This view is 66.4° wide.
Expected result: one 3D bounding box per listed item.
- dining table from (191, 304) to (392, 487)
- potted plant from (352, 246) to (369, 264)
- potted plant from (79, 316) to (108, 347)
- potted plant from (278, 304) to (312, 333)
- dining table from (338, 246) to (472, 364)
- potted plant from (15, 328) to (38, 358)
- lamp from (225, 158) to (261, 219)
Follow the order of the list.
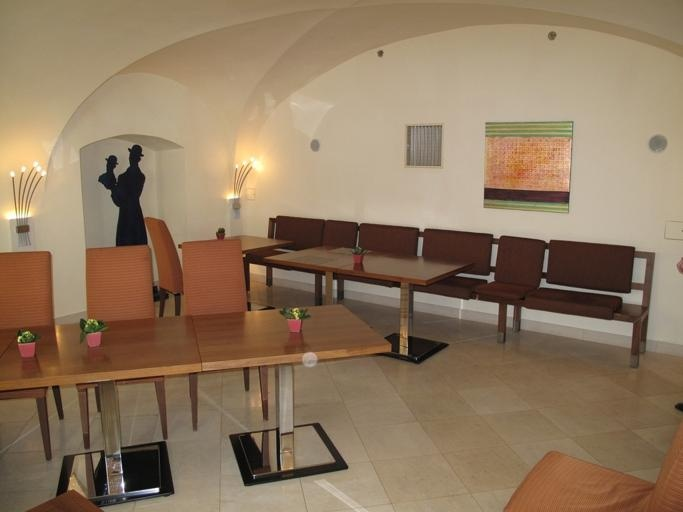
[{"bbox_3d":[-0.412,0.995,3.781,1.191,1.044,0.945,-4,13,-17],"label":"dining table"},{"bbox_3d":[0.184,-0.005,5.930,0.183,0.178,0.177,4,-2,-43],"label":"potted plant"},{"bbox_3d":[-1.625,0.496,3.464,0.188,0.145,0.198,6,-1,-34],"label":"potted plant"},{"bbox_3d":[-0.328,0.432,3.681,0.200,0.133,0.171,1,5,2],"label":"potted plant"},{"bbox_3d":[0.708,0.379,5.836,1.416,1.027,1.175,9,14,40],"label":"dining table"},{"bbox_3d":[-1.994,0.543,3.304,0.109,0.156,0.198,-9,15,-34],"label":"potted plant"},{"bbox_3d":[-1.560,-1.070,8.249,0.571,0.922,0.238,-5,14,-20],"label":"lamp"}]
